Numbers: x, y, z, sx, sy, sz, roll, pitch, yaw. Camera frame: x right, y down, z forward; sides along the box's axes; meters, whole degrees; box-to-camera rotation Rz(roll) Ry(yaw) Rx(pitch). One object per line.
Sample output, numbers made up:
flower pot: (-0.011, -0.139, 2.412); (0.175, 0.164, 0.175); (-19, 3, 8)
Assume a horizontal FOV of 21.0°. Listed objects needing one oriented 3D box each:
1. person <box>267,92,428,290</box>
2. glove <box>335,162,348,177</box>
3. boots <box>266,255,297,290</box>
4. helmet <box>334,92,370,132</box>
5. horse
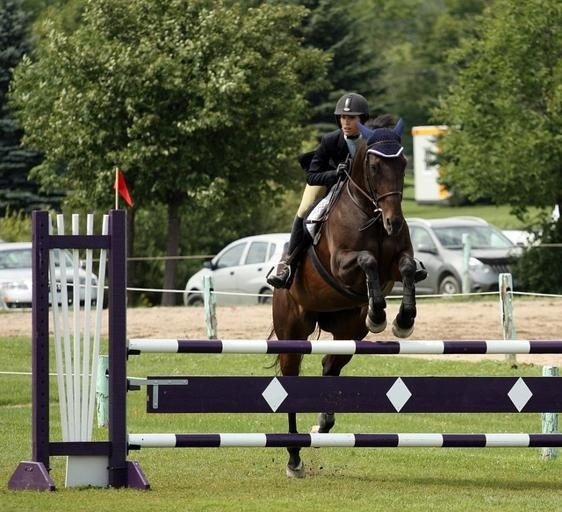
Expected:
person: (0.828, -0.947, 20.318); (0.746, 0.873, 2.965); (6, -43, -2)
glove: (0.769, -1.100, 19.525); (0.123, 0.204, 0.065); (4, -1, 4)
boots: (-0.094, 0.260, 20.002); (0.573, 0.481, 0.216); (6, -3, 31)
helmet: (0.904, -1.874, 19.709); (0.365, 0.503, 0.545); (6, 0, 19)
horse: (0.678, 0.362, 20.280); (0.961, 3.150, 4.209); (-2, -15, -26)
